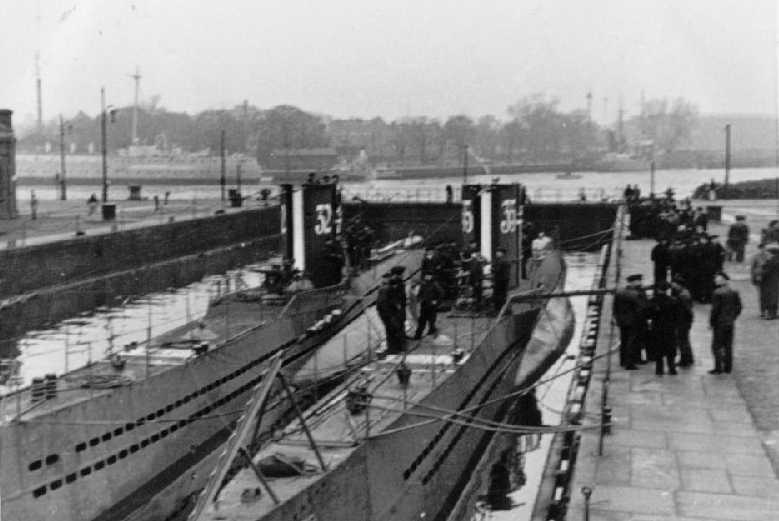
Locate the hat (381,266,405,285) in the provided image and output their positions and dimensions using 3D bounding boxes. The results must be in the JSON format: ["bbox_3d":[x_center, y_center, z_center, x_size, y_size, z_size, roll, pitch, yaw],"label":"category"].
[{"bbox_3d":[0.056,0.252,21.207,0.211,0.265,0.546,9,1,23],"label":"hat"}]

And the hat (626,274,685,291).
[{"bbox_3d":[3.801,0.330,18.660,0.826,0.211,0.635,2,7,20],"label":"hat"}]
